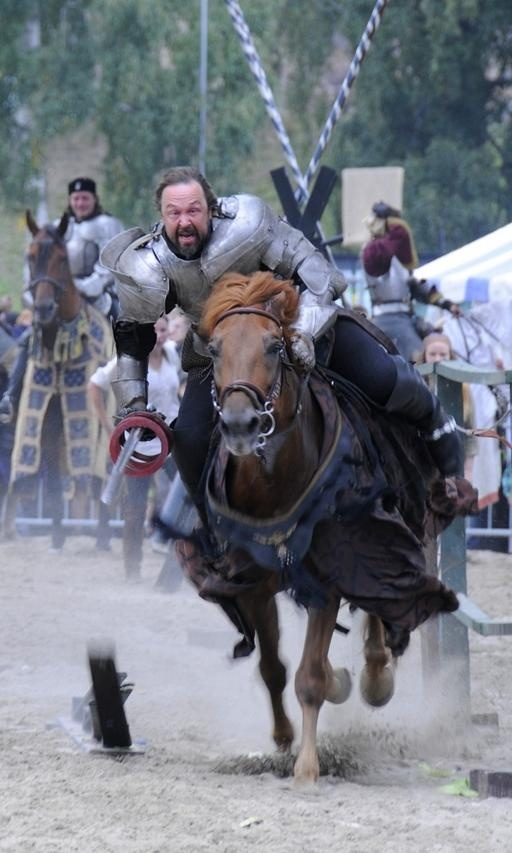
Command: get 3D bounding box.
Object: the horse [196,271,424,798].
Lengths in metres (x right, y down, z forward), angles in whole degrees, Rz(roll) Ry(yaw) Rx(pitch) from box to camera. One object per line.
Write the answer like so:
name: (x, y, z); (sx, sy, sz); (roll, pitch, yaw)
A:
horse: (0.170, 0.390, 4.637); (0.605, 1.774, 1.357); (0, 5, 5)

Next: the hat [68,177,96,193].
hat: (-1.162, -1.565, 9.140); (0.139, 0.084, 0.138); (2, -3, -11)
